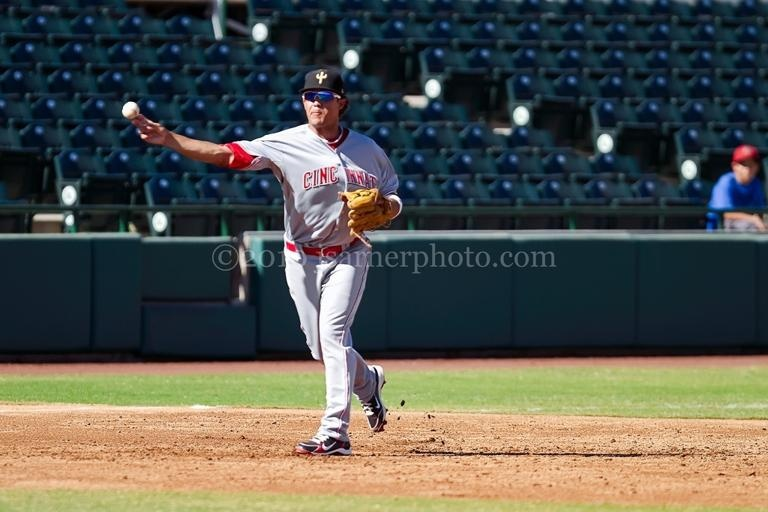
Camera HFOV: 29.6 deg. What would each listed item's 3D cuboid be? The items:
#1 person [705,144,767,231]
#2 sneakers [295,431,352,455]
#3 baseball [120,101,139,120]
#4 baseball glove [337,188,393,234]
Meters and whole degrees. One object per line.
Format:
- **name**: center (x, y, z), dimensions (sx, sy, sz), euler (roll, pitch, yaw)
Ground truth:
- **person**: center (4.094, -0.793, 17.005), dimensions (0.690, 0.986, 0.583), euler (-1, -1, 12)
- **sneakers**: center (-0.531, 1.729, 13.296), dimensions (0.525, 0.223, 0.185), euler (7, -8, -8)
- **baseball**: center (-2.289, -1.332, 13.216), dimensions (0.125, 0.174, 0.214), euler (-1, -1, -19)
- **baseball glove**: center (-0.136, -0.418, 13.263), dimensions (0.496, 0.404, 0.240), euler (-1, -1, -9)
